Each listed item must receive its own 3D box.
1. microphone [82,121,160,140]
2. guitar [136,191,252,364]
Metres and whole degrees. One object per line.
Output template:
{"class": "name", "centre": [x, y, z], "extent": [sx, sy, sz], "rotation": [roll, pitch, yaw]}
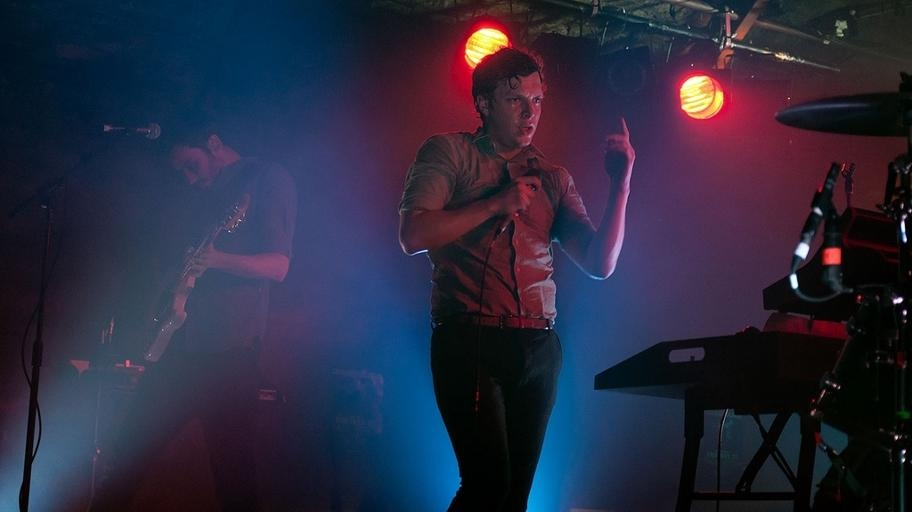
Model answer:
{"class": "microphone", "centre": [-2.873, -1.097, 6.429], "extent": [0.559, 0.175, 0.047], "rotation": [2, -5, 4]}
{"class": "guitar", "centre": [-2.222, 0.169, 6.373], "extent": [0.654, 1.523, 0.181], "rotation": [1, -16, 21]}
